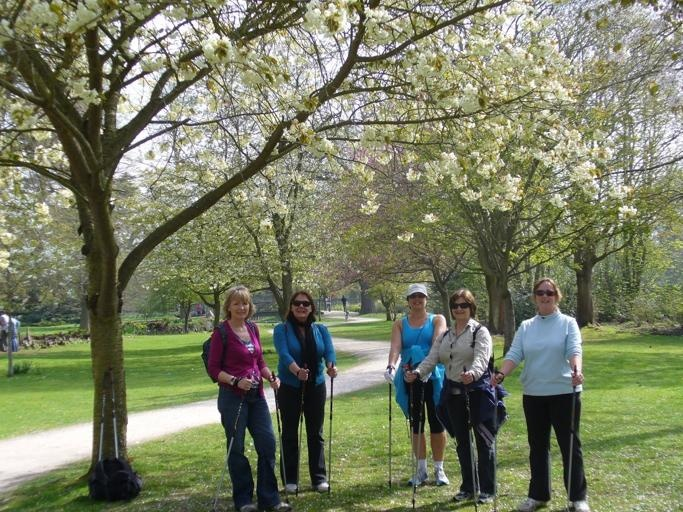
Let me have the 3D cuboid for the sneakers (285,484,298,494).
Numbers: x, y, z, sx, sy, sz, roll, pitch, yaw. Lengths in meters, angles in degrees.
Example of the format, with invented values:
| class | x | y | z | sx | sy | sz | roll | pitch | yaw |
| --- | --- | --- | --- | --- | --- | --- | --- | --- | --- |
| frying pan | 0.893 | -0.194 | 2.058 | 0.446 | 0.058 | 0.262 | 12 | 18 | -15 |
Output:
| class | x | y | z | sx | sy | sz | roll | pitch | yaw |
| --- | --- | --- | --- | --- | --- | --- | --- | --- | --- |
| sneakers | -0.653 | 3.045 | 7.089 | 0.083 | 0.117 | 0.099 | 14 | 29 | -4 |

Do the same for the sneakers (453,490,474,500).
| class | x | y | z | sx | sy | sz | roll | pitch | yaw |
| --- | --- | --- | --- | --- | --- | --- | --- | --- | --- |
| sneakers | 1.526 | 2.957 | 6.729 | 0.230 | 0.094 | 0.093 | 3 | -9 | -20 |

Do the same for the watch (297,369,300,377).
| class | x | y | z | sx | sy | sz | roll | pitch | yaw |
| --- | --- | --- | --- | --- | --- | --- | --- | --- | --- |
| watch | -0.527 | 1.467 | 6.818 | 0.037 | 0.071 | 0.119 | -1 | -6 | -9 |

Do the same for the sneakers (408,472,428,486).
| class | x | y | z | sx | sy | sz | roll | pitch | yaw |
| --- | --- | --- | --- | --- | --- | --- | --- | --- | --- |
| sneakers | 1.024 | 2.983 | 7.252 | 0.144 | 0.188 | 0.468 | -12 | -20 | 38 |

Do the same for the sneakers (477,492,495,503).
| class | x | y | z | sx | sy | sz | roll | pitch | yaw |
| --- | --- | --- | --- | --- | --- | --- | --- | --- | --- |
| sneakers | 1.767 | 2.934 | 6.578 | 0.094 | 0.082 | 0.151 | 11 | -18 | -39 |

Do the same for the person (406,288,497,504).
| class | x | y | z | sx | sy | sz | roll | pitch | yaw |
| --- | --- | --- | --- | --- | --- | --- | --- | --- | --- |
| person | 1.508 | 1.716 | 6.765 | 0.862 | 2.605 | 0.573 | -3 | -4 | 15 |

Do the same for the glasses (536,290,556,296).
| class | x | y | z | sx | sy | sz | roll | pitch | yaw |
| --- | --- | --- | --- | --- | --- | --- | --- | --- | --- |
| glasses | 2.522 | 0.448 | 6.642 | 0.111 | 0.041 | 0.122 | 0 | -16 | 14 |

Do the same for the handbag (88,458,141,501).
| class | x | y | z | sx | sy | sz | roll | pitch | yaw |
| --- | --- | --- | --- | --- | --- | --- | --- | --- | --- |
| handbag | -3.106 | 3.023 | 7.406 | 0.673 | 0.574 | 0.392 | -1 | -9 | -3 |

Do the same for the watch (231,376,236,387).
| class | x | y | z | sx | sy | sz | roll | pitch | yaw |
| --- | --- | --- | --- | --- | --- | --- | --- | --- | --- |
| watch | -1.299 | 1.506 | 6.586 | 0.056 | 0.092 | 0.080 | 8 | 0 | 4 |
